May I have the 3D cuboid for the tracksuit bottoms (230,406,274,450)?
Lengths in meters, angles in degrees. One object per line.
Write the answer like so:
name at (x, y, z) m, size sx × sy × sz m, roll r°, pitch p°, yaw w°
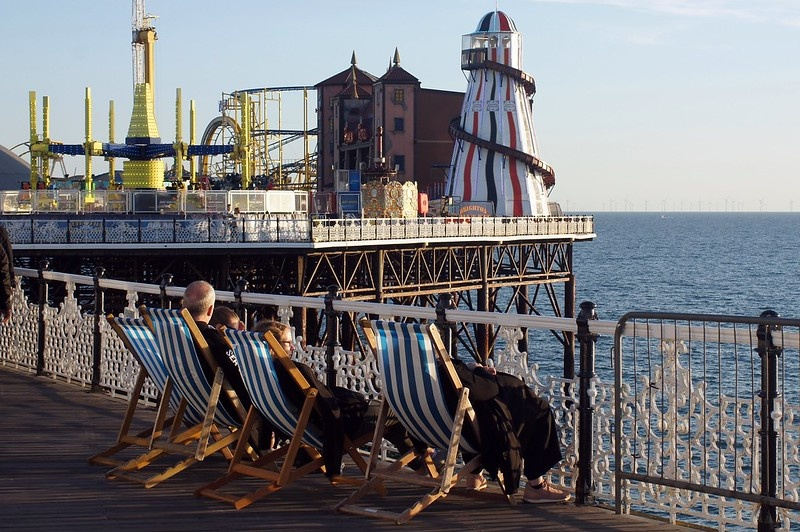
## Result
tracksuit bottoms at (-1.750, 1.977, 18.311) m, size 0.610 × 0.526 × 0.472 m, roll 9°, pitch -1°, yaw 13°

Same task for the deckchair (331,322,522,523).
deckchair at (0.214, 1.815, 17.473) m, size 1.526 × 2.265 × 0.990 m, roll 1°, pitch 0°, yaw 3°

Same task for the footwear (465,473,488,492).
footwear at (0.933, 2.580, 17.867) m, size 0.123 × 0.130 × 0.308 m, roll 1°, pitch 2°, yaw 20°

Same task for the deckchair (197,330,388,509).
deckchair at (-1.204, 1.779, 18.102) m, size 2.296 × 1.956 × 1.376 m, roll -1°, pitch 4°, yaw -29°

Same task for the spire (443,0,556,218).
spire at (4.175, -6.449, 61.194) m, size 3.907 × 8.010 × 2.894 m, roll 1°, pitch 0°, yaw 6°

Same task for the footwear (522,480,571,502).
footwear at (1.727, 2.671, 17.675) m, size 0.608 × 0.269 × 0.225 m, roll -1°, pitch 1°, yaw -10°

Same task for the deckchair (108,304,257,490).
deckchair at (-2.466, 1.531, 18.342) m, size 1.870 × 1.909 × 2.247 m, roll 1°, pitch -2°, yaw 27°

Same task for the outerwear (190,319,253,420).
outerwear at (-2.065, 1.222, 17.893) m, size 1.041 × 1.023 × 0.739 m, roll 12°, pitch -12°, yaw -43°
